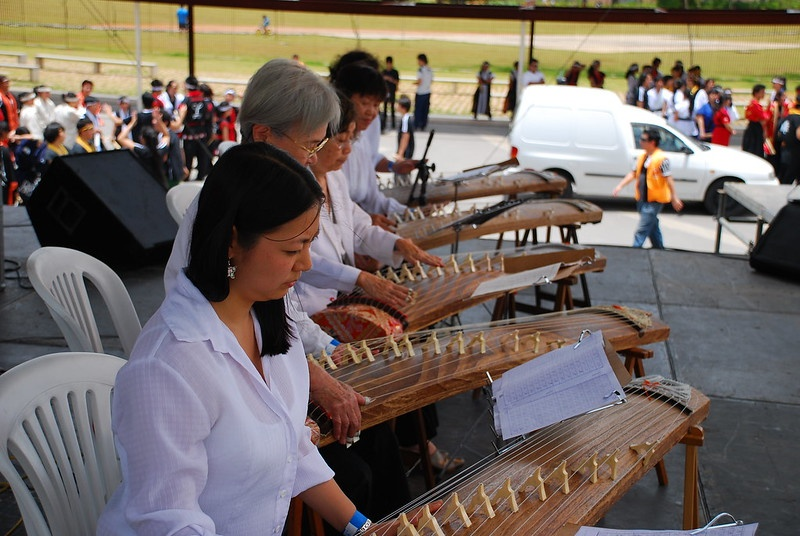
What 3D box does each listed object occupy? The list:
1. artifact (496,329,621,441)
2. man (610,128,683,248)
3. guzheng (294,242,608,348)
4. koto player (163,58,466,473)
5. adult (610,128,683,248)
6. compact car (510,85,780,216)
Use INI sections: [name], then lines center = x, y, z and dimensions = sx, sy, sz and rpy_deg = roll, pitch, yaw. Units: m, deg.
[artifact]
center = 0.634, 0.543, 3.231
dimensions = 0.505, 0.200, 0.493
rpy_deg = -25, 27, 8
[man]
center = 2.818, -0.852, 8.556
dimensions = 0.738, 1.421, 1.927
rpy_deg = 7, 17, 16
[guzheng]
center = 0.380, 0.077, 4.387
dimensions = 2.084, 0.394, 0.617
rpy_deg = -16, 20, -39
[koto player]
center = -0.472, -0.335, 4.083
dimensions = 1.726, 2.554, 1.210
rpy_deg = 2, 10, -1
[adult]
center = 2.818, -0.852, 8.556
dimensions = 0.737, 1.421, 1.927
rpy_deg = 7, 17, 16
[compact car]
center = 3.318, -1.575, 10.936
dimensions = 3.531, 1.611, 2.048
rpy_deg = 0, 27, 3
